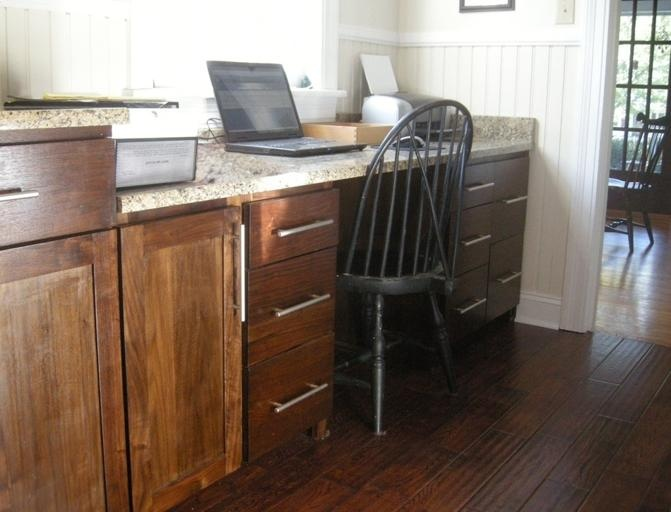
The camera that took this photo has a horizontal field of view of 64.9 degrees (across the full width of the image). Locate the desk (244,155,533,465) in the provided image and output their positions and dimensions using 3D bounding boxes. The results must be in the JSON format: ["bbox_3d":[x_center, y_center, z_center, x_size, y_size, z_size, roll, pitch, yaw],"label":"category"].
[{"bbox_3d":[0.351,0.242,2.694,0.802,1.264,2.147,-1,-1,23],"label":"desk"}]

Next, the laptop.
[{"bbox_3d":[-0.209,-0.559,1.994,0.517,0.377,0.485,12,17,37],"label":"laptop"}]

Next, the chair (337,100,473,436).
[{"bbox_3d":[0.260,-0.044,2.137,0.508,1.117,0.972,4,15,14],"label":"chair"}]
